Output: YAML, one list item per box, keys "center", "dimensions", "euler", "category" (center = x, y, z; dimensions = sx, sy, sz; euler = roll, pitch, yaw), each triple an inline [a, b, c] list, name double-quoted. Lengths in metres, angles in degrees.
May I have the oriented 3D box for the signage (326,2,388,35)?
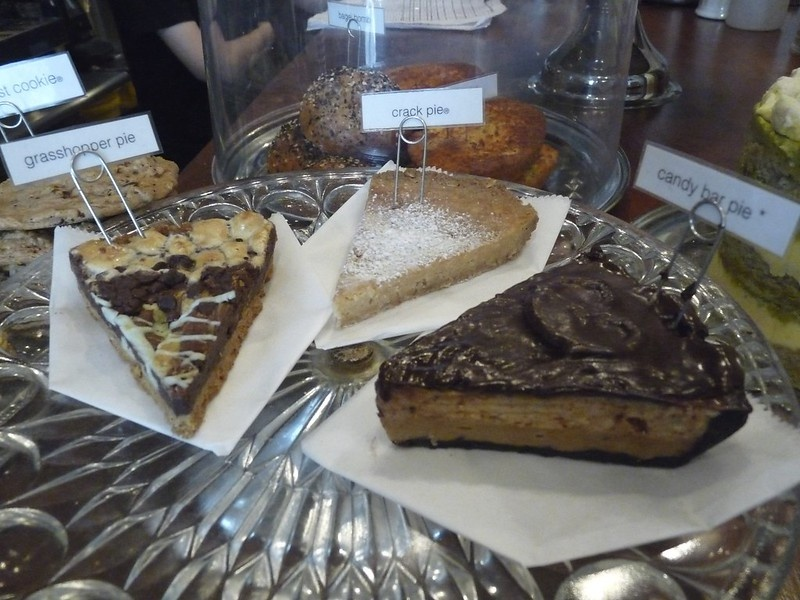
- center: [-0.128, -0.890, 1.898]
  dimensions: [0.136, 0.064, 0.014]
  euler: [9, 51, 7]
  category: "signage"

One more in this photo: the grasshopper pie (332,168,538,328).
- center: [0.053, -0.155, 1.956]
  dimensions: [0.593, 0.164, 0.858]
  euler: [16, 39, 22]
  category: "grasshopper pie"

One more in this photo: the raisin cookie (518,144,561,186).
- center: [0.477, -0.454, 2.158]
  dimensions: [0.046, 0.148, 0.150]
  euler: [32, 51, 17]
  category: "raisin cookie"
